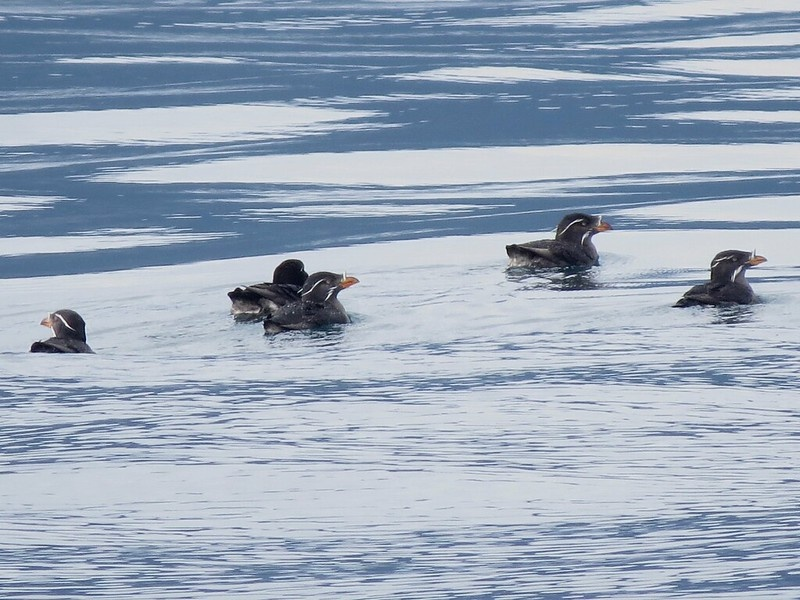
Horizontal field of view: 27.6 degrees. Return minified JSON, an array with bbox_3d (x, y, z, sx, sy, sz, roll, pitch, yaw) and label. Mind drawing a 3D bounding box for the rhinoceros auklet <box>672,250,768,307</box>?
[{"bbox_3d":[4.699,-0.285,23.692,0.907,0.752,1.244,8,19,33],"label":"rhinoceros auklet"}]
